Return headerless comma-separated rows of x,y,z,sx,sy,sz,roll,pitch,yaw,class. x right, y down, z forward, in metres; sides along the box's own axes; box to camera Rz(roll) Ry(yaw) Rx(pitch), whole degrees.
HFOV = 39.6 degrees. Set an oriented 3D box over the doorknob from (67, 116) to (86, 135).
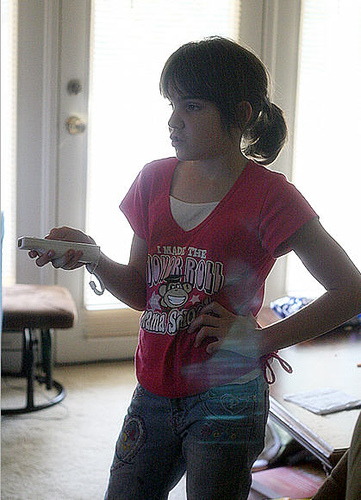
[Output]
-0.208,-0.250,0.998,0.032,0.032,0.015,-2,14,-30,doorknob
